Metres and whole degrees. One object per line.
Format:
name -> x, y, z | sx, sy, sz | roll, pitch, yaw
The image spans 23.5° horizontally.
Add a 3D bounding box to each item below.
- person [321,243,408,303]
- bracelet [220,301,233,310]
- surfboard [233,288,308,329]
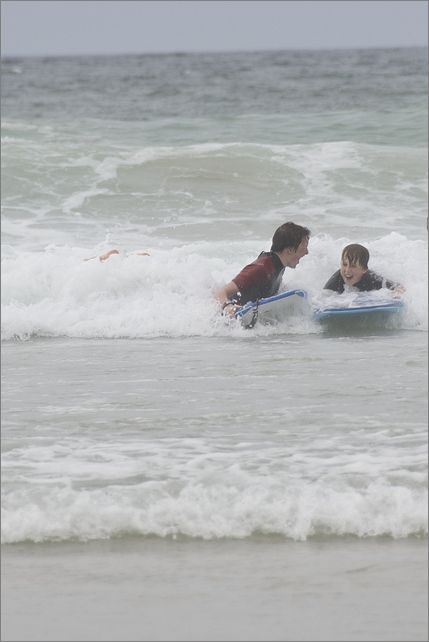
person -> 1.358, -0.412, 9.295 | 0.766, 0.818, 0.306 | 1, 6, 10
bracelet -> 0.109, -0.134, 8.561 | 0.074, 0.018, 0.065 | -8, 29, 18
surfboard -> 0.480, -0.122, 8.565 | 0.831, 0.216, 0.149 | -14, 28, -22
